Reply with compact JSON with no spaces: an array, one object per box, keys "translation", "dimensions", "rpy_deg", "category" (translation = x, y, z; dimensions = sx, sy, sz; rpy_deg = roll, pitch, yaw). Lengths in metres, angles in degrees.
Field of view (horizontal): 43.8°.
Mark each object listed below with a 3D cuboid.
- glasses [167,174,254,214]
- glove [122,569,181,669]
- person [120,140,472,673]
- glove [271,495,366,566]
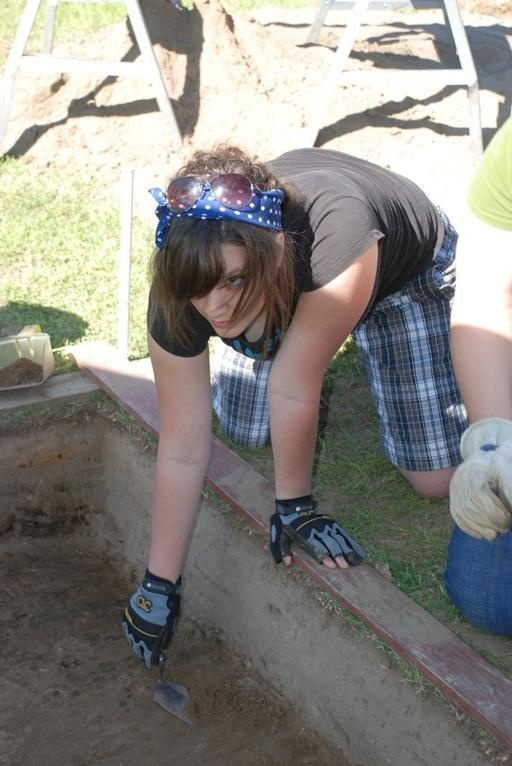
[{"translation":[-0.088,-0.346,1.161],"dimensions":[0.165,0.079,0.066],"rpy_deg":[10,23,6],"category":"glasses"},{"translation":[-0.247,0.557,1.510],"dimensions":[0.094,0.214,0.165],"rpy_deg":[2,25,-26],"category":"glove"},{"translation":[0.160,0.019,1.683],"dimensions":[0.497,1.174,1.115],"rpy_deg":[24,27,34],"category":"person"},{"translation":[0.143,0.388,1.648],"dimensions":[0.179,0.088,0.217],"rpy_deg":[-21,53,-22],"category":"glove"}]
